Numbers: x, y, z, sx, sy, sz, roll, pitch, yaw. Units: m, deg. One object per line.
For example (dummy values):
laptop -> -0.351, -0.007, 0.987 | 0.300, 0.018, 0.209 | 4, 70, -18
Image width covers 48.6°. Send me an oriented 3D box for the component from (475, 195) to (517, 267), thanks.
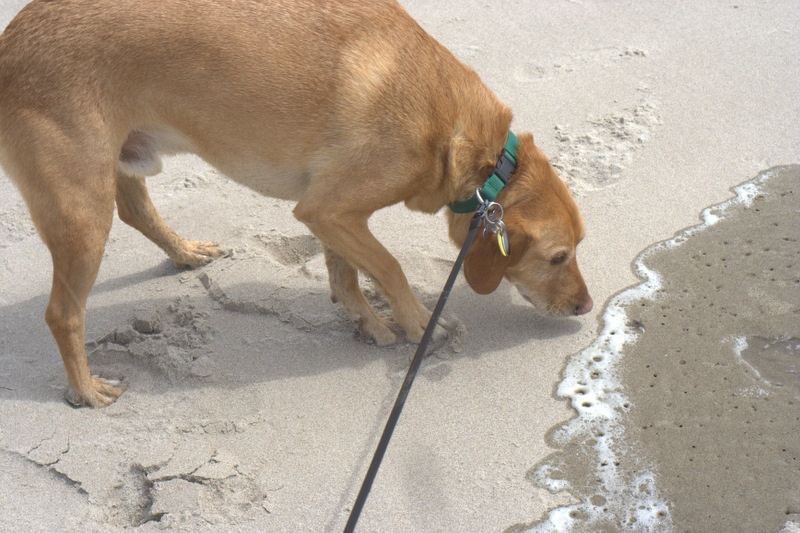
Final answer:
component -> 0.589, -0.230, 5.594 | 0.210, 0.074, 0.384 | -21, 82, -27
